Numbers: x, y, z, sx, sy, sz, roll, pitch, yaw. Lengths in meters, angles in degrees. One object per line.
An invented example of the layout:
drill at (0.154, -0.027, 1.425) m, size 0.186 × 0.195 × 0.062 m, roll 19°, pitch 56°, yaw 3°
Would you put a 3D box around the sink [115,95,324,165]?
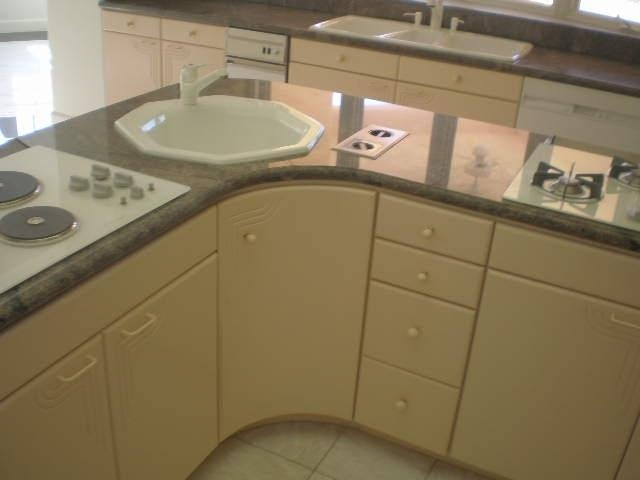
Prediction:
sink at (-0.350, -0.368, 1.858) m, size 0.711 × 0.184 × 0.536 m, roll 8°, pitch 25°, yaw -1°
